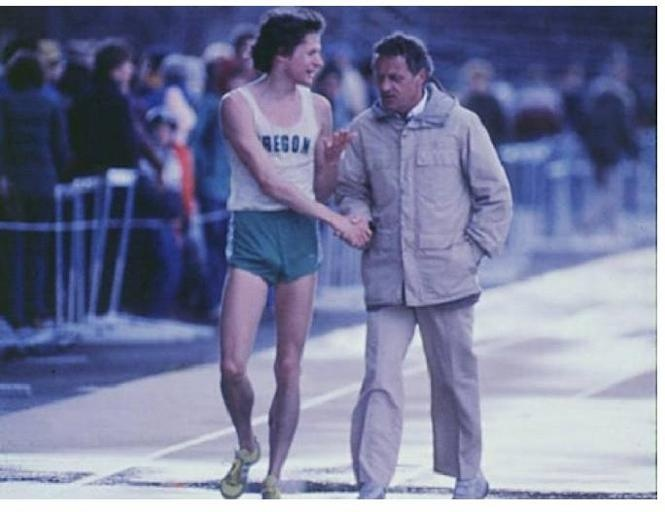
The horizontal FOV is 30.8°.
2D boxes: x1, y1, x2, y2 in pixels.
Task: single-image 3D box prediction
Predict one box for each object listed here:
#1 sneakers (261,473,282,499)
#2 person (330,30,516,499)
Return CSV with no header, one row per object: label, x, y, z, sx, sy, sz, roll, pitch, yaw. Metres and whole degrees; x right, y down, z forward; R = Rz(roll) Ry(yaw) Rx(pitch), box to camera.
sneakers,-0.374,1.423,7.402,0.142,0.147,0.104,-1,-3,14
person,0.542,0.076,7.335,0.975,2.821,0.418,-1,3,-9
